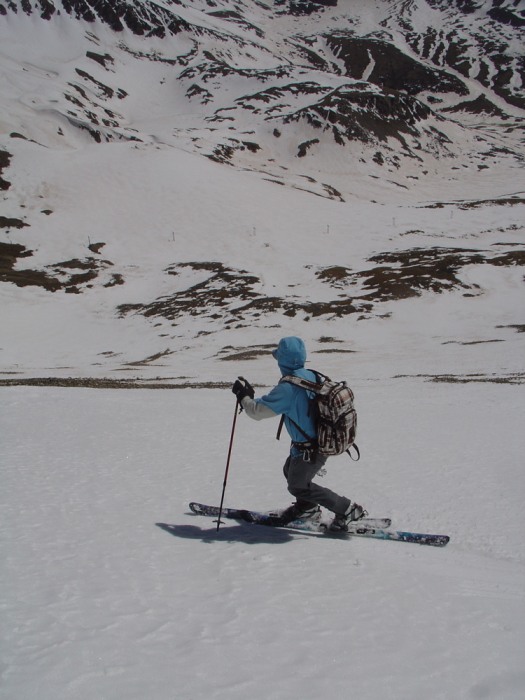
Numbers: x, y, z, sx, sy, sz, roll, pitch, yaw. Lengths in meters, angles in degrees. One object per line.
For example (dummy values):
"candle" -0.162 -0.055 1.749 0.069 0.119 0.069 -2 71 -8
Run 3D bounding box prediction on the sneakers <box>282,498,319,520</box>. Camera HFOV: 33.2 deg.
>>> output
"sneakers" 0.293 1.531 8.372 0.430 0.165 0.135 -3 2 16

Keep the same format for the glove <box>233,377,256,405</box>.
"glove" -0.190 0.358 7.868 0.115 0.227 0.246 -8 7 -11

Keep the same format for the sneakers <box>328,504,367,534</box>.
"sneakers" 0.770 1.617 8.359 0.220 0.156 0.450 10 -32 -23
